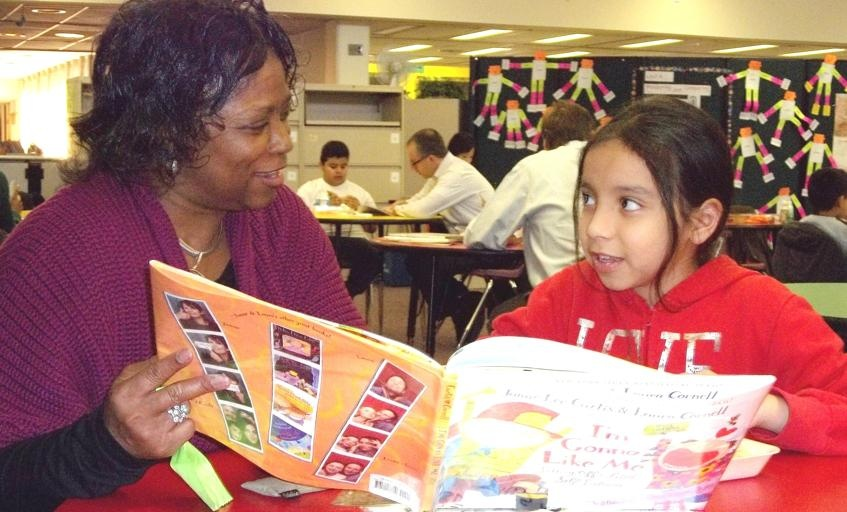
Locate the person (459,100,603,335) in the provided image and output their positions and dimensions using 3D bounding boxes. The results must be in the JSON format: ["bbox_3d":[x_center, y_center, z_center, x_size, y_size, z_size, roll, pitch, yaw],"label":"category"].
[{"bbox_3d":[0.786,-0.093,3.696,0.949,1.383,0.756,-4,22,7],"label":"person"}]

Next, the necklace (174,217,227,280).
[{"bbox_3d":[-0.472,-0.017,1.481,0.104,0.125,0.042,7,-7,-36],"label":"necklace"}]

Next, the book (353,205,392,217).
[{"bbox_3d":[-0.350,-0.326,4.952,0.091,0.075,0.350,0,0,42],"label":"book"}]
